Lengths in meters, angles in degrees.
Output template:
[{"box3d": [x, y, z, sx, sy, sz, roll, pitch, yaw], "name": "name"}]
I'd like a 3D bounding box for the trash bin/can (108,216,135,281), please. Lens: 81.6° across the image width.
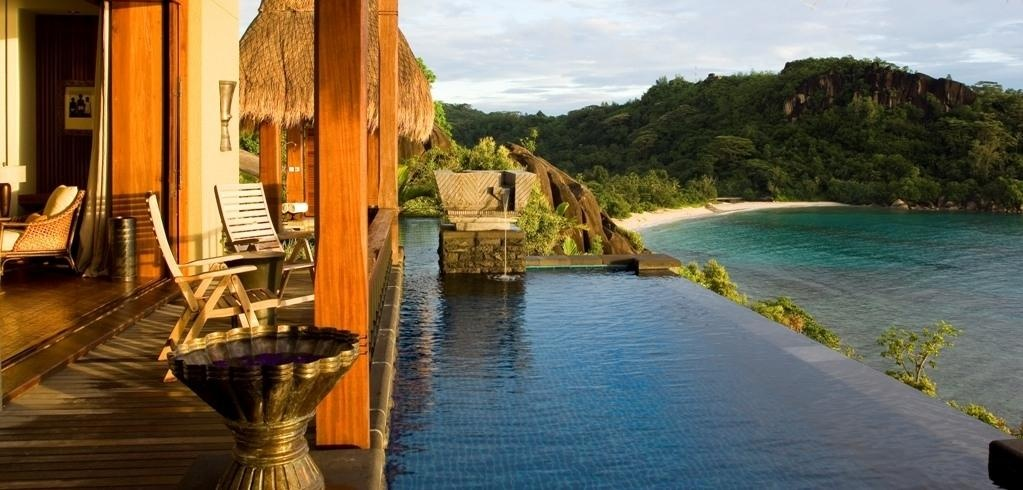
[{"box3d": [-6.501, 0.059, 9.928, 0.359, 1.040, 0.290, -1, 15, -18], "name": "trash bin/can"}]
